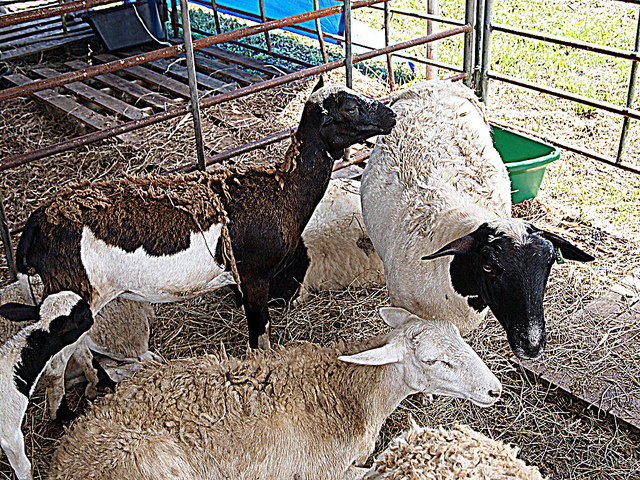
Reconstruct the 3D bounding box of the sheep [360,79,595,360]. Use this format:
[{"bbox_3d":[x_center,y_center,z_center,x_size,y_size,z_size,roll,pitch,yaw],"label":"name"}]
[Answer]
[{"bbox_3d":[0.907,0.005,5.661,1.194,1.712,3.093,2,36,-6],"label":"sheep"}]
